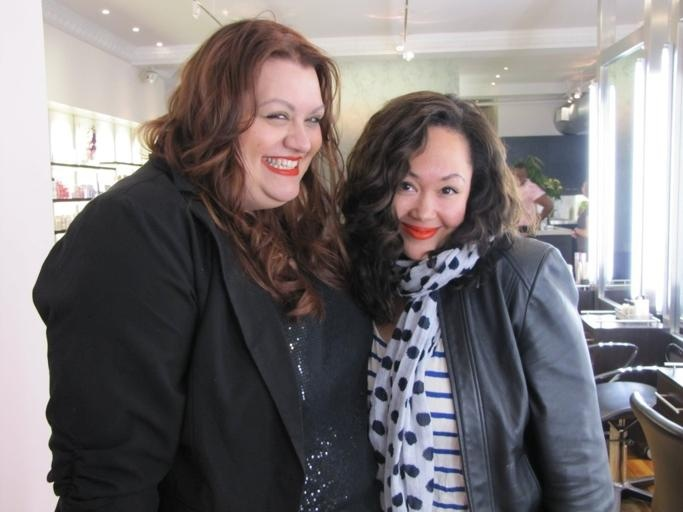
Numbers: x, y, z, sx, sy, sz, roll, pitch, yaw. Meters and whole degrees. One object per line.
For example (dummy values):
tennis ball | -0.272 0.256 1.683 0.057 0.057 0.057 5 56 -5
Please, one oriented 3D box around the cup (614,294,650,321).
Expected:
cup | 2.217 0.412 4.685 0.156 0.221 0.220 1 -5 -4
